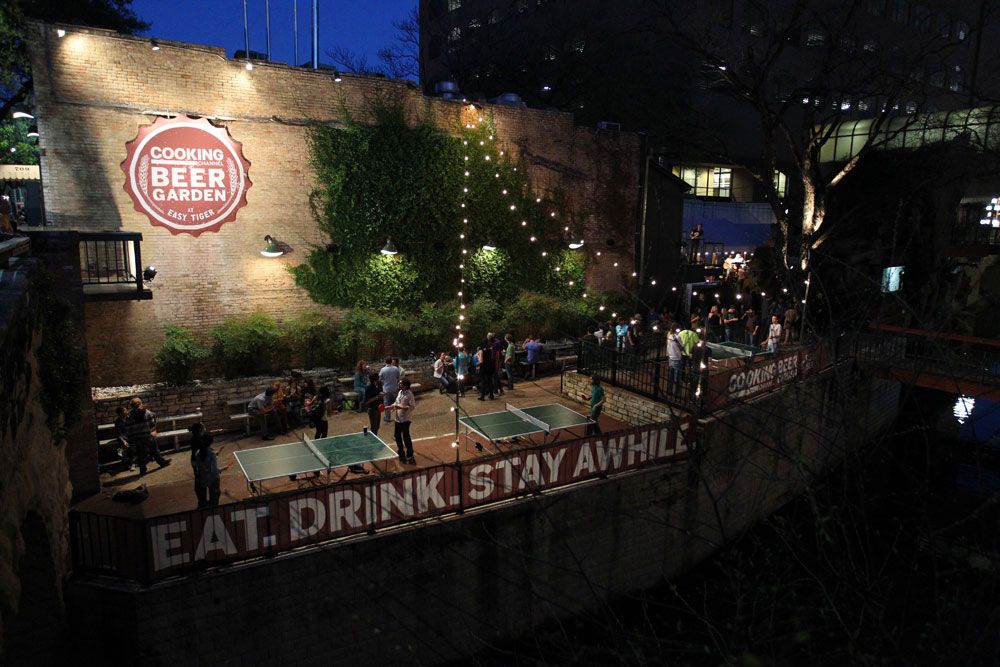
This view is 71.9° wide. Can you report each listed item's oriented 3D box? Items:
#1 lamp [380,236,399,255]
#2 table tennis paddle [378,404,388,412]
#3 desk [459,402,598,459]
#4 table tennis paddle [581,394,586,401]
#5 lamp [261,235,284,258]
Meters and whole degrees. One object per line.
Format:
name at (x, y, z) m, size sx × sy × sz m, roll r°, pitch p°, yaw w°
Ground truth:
lamp at (-4.141, -3.198, 26.233) m, size 0.641 × 0.690 × 0.653 m, roll -12°, pitch 30°, yaw -31°
table tennis paddle at (-3.486, 2.258, 20.670) m, size 0.265 × 0.089 × 0.194 m, roll 0°, pitch 5°, yaw -31°
desk at (0.723, 2.918, 21.169) m, size 3.257 × 0.872 × 2.452 m, roll -3°, pitch 11°, yaw -16°
table tennis paddle at (2.948, 2.257, 24.049) m, size 0.195 × 0.210 × 0.231 m, roll 9°, pitch -4°, yaw -17°
lamp at (-8.061, -3.018, 24.628) m, size 0.808 × 0.825 × 0.733 m, roll 2°, pitch -1°, yaw 44°
